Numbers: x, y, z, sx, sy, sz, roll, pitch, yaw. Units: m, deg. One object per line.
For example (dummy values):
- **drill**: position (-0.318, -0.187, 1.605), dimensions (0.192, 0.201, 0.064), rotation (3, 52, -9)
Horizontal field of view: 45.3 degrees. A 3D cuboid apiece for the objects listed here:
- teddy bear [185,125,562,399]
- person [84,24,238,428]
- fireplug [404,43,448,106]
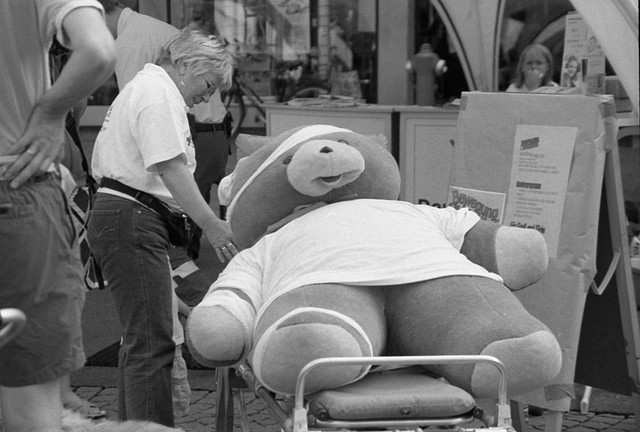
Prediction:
- **teddy bear**: position (0.241, 0.177, 3.471), dimensions (1.566, 0.971, 1.101), rotation (2, 15, 4)
- **person**: position (-0.861, 0.015, 4.329), dimensions (0.894, 2.058, 0.886), rotation (0, 5, -2)
- **fireplug**: position (0.926, -1.233, 6.675), dimensions (0.329, 0.558, 0.212), rotation (6, 26, 20)
